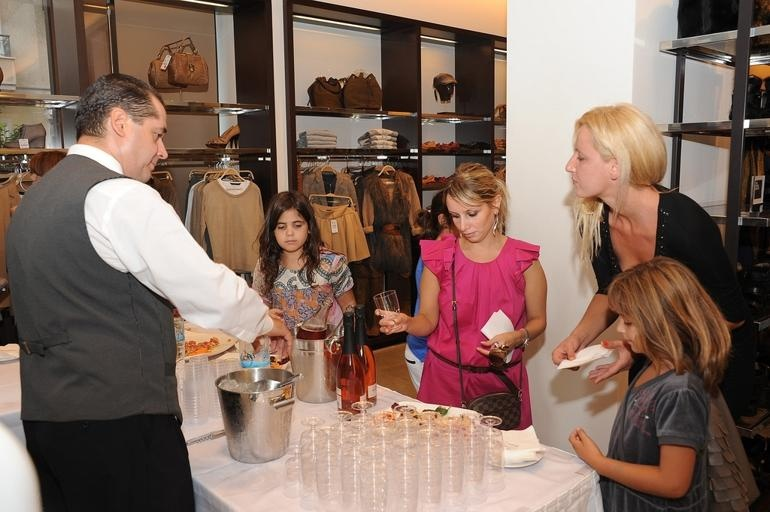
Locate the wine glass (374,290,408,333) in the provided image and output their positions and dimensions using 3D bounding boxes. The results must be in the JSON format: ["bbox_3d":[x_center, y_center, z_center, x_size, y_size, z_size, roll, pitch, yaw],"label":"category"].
[{"bbox_3d":[0.014,0.252,2.288,0.121,0.222,0.205,-1,11,2],"label":"wine glass"}]

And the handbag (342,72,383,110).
[{"bbox_3d":[-0.280,-1.643,5.378,0.446,0.433,0.254,-1,11,-15],"label":"handbag"}]

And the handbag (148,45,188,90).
[{"bbox_3d":[-1.804,-1.529,4.454,0.400,0.392,0.177,33,31,33],"label":"handbag"}]

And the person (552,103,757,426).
[{"bbox_3d":[1.236,0.247,2.545,0.879,1.852,0.659,-8,12,6],"label":"person"}]

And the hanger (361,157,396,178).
[{"bbox_3d":[-0.067,-0.893,5.516,0.313,0.112,0.234,1,11,-4],"label":"hanger"}]

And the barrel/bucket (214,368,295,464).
[{"bbox_3d":[-0.460,0.563,1.959,0.320,0.249,0.294,1,9,0],"label":"barrel/bucket"}]

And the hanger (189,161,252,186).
[{"bbox_3d":[-1.512,-0.753,4.831,0.320,0.161,0.435,5,11,34],"label":"hanger"}]

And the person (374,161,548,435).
[{"bbox_3d":[0.398,0.498,2.703,0.830,1.798,0.744,0,13,8],"label":"person"}]

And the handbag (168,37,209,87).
[{"bbox_3d":[-1.665,-1.617,4.520,0.274,0.397,0.168,-11,3,-17],"label":"handbag"}]

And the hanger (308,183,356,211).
[{"bbox_3d":[-0.535,-0.560,5.095,0.413,0.270,0.043,-3,7,-11],"label":"hanger"}]

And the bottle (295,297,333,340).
[{"bbox_3d":[-0.283,0.263,2.279,0.126,0.195,0.201,-1,3,-32],"label":"bottle"}]
